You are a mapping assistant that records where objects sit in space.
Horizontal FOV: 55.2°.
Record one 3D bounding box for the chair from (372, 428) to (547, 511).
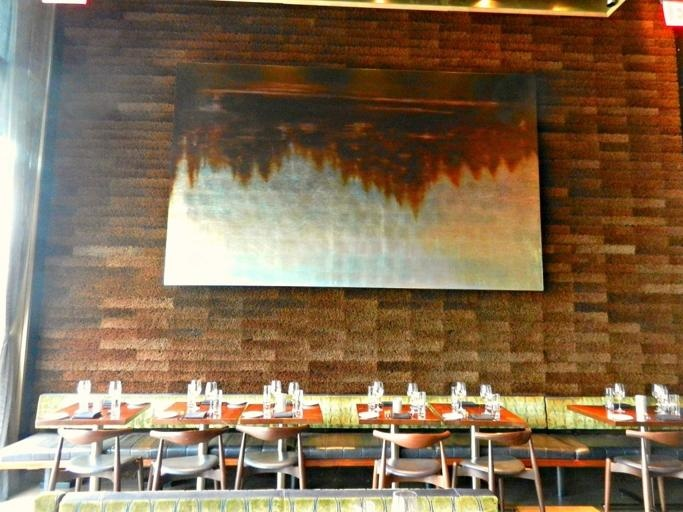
[{"bbox_3d":[1.045,1.884,5.785,1.134,0.548,0.611,0,88,1],"label":"chair"}]
